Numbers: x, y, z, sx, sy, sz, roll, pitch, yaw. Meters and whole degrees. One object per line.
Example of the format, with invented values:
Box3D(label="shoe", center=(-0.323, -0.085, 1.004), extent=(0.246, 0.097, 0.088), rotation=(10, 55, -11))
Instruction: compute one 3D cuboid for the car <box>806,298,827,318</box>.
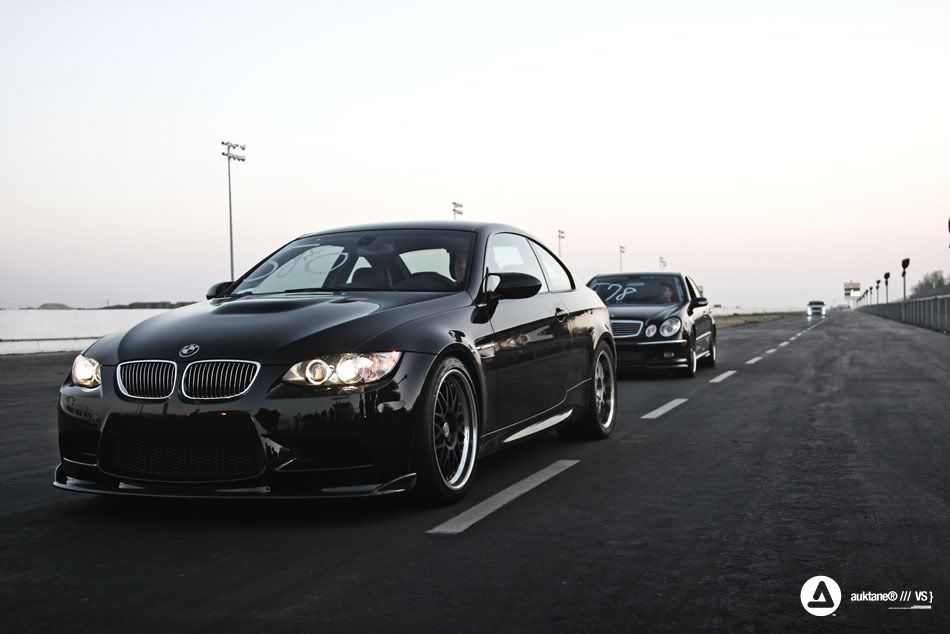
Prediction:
Box3D(label="car", center=(69.398, -1.372, 112.301), extent=(4.057, 2.995, 6.899), rotation=(-3, -4, 20))
